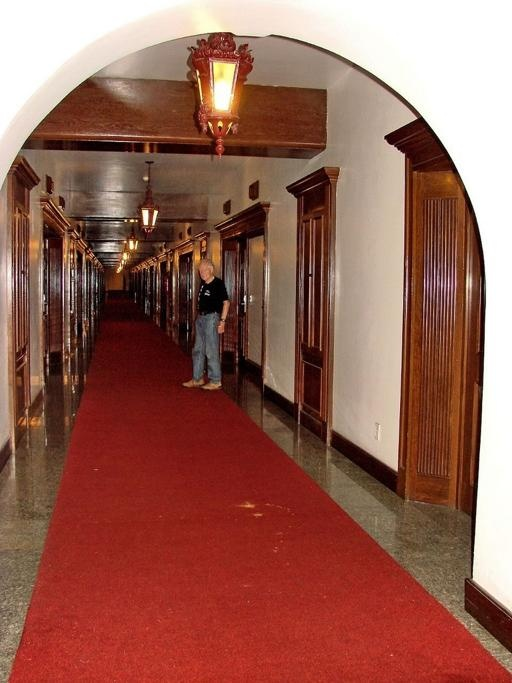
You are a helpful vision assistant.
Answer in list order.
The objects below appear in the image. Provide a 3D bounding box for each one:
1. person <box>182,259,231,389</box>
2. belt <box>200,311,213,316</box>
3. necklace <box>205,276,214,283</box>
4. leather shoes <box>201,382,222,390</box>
[{"bbox_3d":[-0.648,-0.198,6.782,0.451,1.754,0.658,0,1,-21],"label":"person"},{"bbox_3d":[-0.678,-0.389,6.736,0.263,0.082,0.066,1,1,28],"label":"belt"},{"bbox_3d":[-0.624,-0.836,6.726,0.126,0.105,0.096,1,1,-6],"label":"necklace"},{"bbox_3d":[-0.619,0.630,6.873,0.273,0.154,0.108,4,-4,-16],"label":"leather shoes"}]
